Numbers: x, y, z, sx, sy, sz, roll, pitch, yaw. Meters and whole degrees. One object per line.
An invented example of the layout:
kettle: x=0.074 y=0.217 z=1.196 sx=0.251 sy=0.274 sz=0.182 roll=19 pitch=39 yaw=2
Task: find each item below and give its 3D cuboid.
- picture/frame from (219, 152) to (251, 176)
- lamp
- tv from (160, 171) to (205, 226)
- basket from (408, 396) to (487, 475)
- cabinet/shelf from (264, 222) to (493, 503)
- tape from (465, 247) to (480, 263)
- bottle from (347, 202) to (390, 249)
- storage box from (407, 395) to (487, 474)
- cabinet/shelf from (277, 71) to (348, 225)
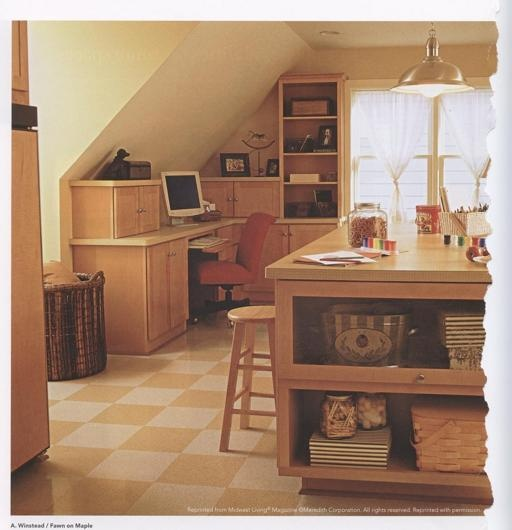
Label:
picture/frame: x=-0.223 y=-1.050 z=5.911 sx=0.301 sy=0.238 sz=0.030 roll=-1 pitch=-2 yaw=-11
lamp: x=1.018 y=-1.187 z=3.266 sx=0.452 sy=0.422 sz=0.511 roll=0 pitch=7 yaw=14
tv: x=-0.678 y=-0.591 z=5.055 sx=0.178 sy=0.489 sz=0.536 roll=1 pitch=12 yaw=33
basket: x=0.684 y=0.593 z=2.019 sx=0.253 sy=0.175 sz=0.249 roll=0 pitch=2 yaw=17
cabinet/shelf: x=0.485 y=0.415 z=2.387 sx=0.806 sy=0.892 sz=1.398 roll=1 pitch=6 yaw=15
tape: x=0.761 y=-0.038 z=1.985 sx=0.048 sy=0.044 sz=0.012 roll=8 pitch=5 yaw=35
bottle: x=0.479 y=-0.179 z=2.478 sx=0.177 sy=0.212 sz=0.195 roll=0 pitch=-1 yaw=10
storage box: x=0.673 y=0.597 z=2.034 sx=0.254 sy=0.179 sz=0.247 roll=0 pitch=4 yaw=5
cabinet/shelf: x=0.552 y=-1.167 z=5.689 sx=0.689 sy=1.422 sz=0.529 roll=-1 pitch=7 yaw=7
